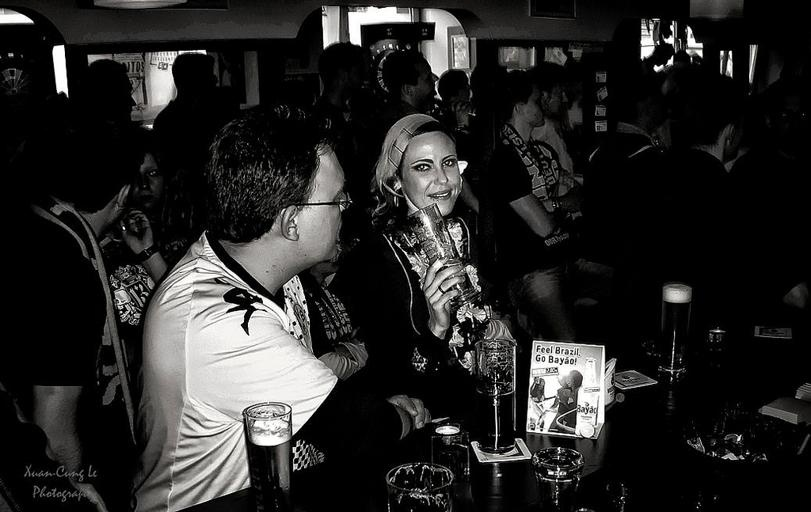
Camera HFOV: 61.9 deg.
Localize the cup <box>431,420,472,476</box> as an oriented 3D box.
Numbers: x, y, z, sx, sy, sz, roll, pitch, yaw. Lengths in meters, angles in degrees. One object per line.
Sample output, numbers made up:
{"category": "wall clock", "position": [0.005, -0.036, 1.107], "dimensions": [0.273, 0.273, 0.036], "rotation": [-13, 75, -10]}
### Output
{"category": "cup", "position": [0.166, 0.697, 2.468], "dimensions": [0.143, 0.165, 0.165], "rotation": [2, 6, 2]}
